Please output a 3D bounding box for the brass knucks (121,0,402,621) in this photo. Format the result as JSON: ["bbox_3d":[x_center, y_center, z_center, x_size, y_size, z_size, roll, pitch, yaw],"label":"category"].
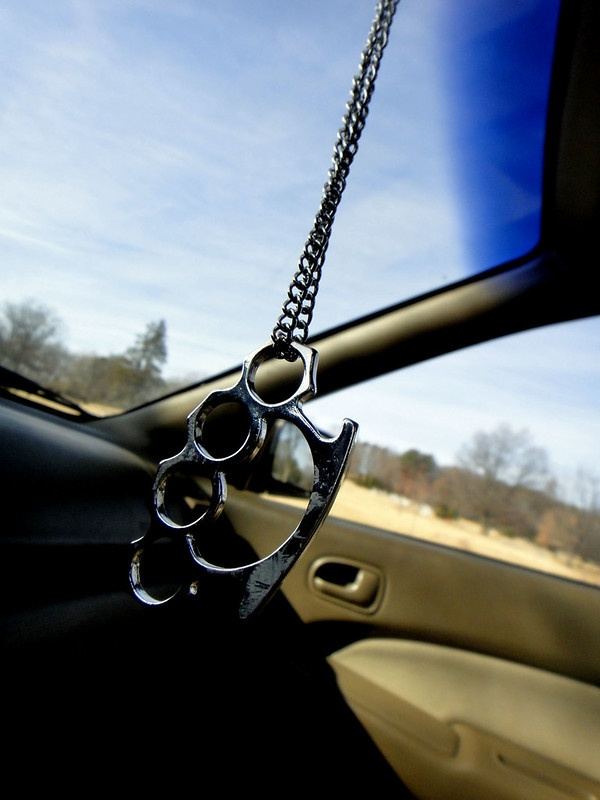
[{"bbox_3d":[-0.023,-0.166,1.006,0.286,0.954,0.220,12,-1,-3],"label":"brass knucks"}]
